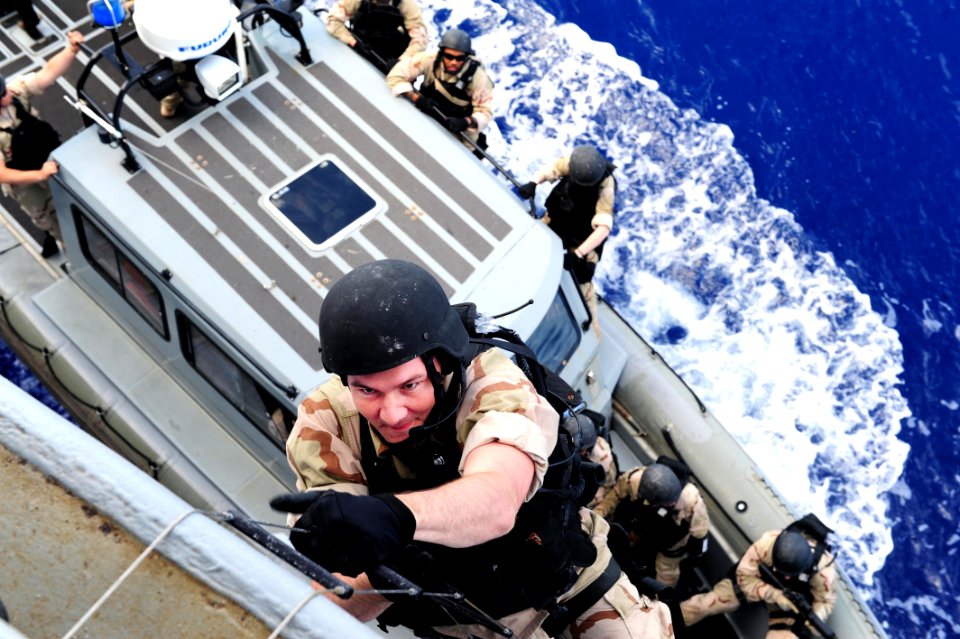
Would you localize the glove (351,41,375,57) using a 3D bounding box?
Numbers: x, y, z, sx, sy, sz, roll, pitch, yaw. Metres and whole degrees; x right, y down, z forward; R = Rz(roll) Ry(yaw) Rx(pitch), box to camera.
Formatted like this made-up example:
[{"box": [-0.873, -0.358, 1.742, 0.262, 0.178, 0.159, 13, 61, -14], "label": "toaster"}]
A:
[{"box": [-1.425, -3.284, 17.381, 0.208, 0.089, 0.284, 31, 4, -34], "label": "glove"}]

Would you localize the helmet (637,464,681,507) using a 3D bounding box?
[{"box": [2.075, 1.902, 16.580, 0.494, 0.367, 0.483, 48, -18, 30], "label": "helmet"}]

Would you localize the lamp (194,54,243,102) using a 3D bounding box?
[{"box": [-2.975, -2.739, 16.291, 0.511, 0.425, 0.375, 34, -26, 10], "label": "lamp"}]

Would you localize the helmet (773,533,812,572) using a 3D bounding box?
[{"box": [3.556, 2.624, 16.235, 0.365, 0.446, 0.352, 20, -16, 24], "label": "helmet"}]
